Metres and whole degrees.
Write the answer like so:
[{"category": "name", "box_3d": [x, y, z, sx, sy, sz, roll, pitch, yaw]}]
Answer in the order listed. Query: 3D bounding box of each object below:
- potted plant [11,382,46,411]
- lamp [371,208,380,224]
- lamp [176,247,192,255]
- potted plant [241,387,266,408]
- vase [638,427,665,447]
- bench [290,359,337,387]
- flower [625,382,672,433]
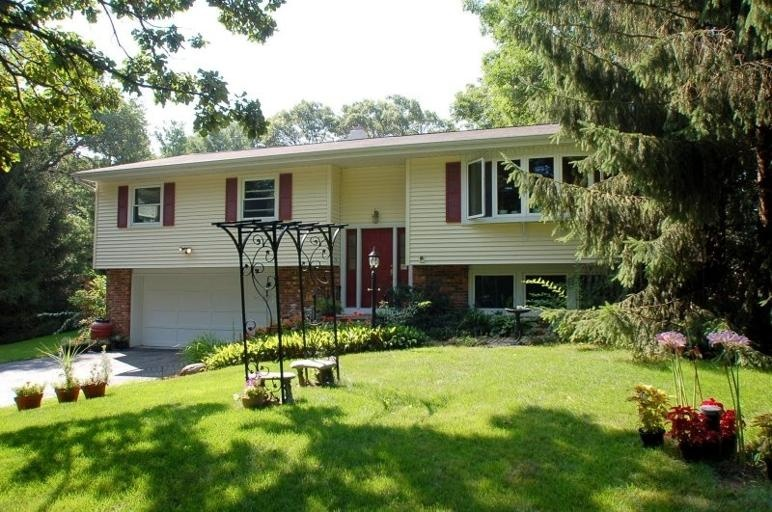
[{"category": "potted plant", "box_3d": [-7.657, 2.992, 14.701, 0.614, 0.573, 0.657, -2, -5, -11]}, {"category": "lamp", "box_3d": [-0.331, -1.267, 22.141, 0.369, 0.617, 0.360, 2, -10, -2]}, {"category": "lamp", "box_3d": [-6.742, -0.160, 23.122, 0.357, 0.171, 0.265, -9, -15, 41]}, {"category": "potted plant", "box_3d": [-2.509, 2.702, 13.031, 0.374, 0.207, 0.320, -2, -6, 9]}, {"category": "vase", "box_3d": [4.555, 3.114, 11.855, 0.311, 0.219, 0.334, 0, -12, -3]}, {"category": "bench", "box_3d": [-1.434, 2.447, 14.533, 0.925, 0.523, 1.064, -4, -5, 17]}, {"category": "flower", "box_3d": [4.553, 2.610, 11.889, 0.599, 0.798, 0.522, -3, -4, 16]}]
